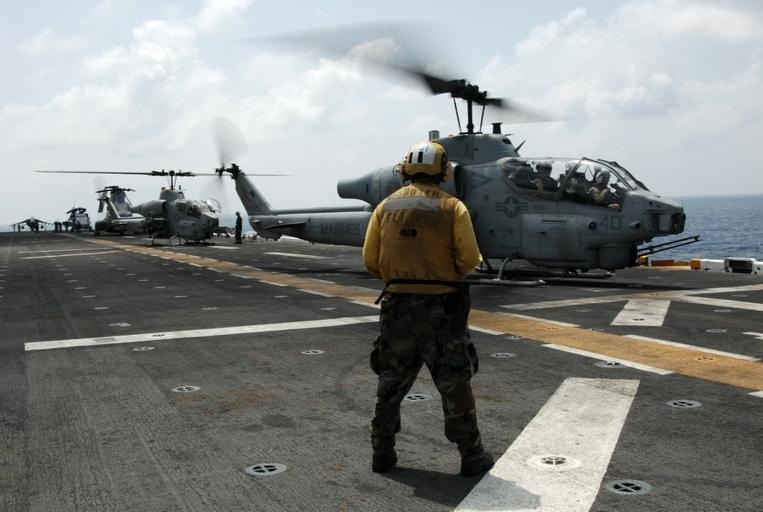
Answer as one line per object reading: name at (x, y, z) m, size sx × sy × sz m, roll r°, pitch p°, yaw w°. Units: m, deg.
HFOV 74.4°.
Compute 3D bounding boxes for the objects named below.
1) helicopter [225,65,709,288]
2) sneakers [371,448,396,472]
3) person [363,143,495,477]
helicopter at (1.793, -1.732, 16.093) m, size 13.268 × 2.943 × 8.112 m, roll 1°, pitch 7°, yaw 32°
sneakers at (0.024, 1.665, 4.113) m, size 0.132 × 0.095 × 0.294 m, roll 1°, pitch 1°, yaw 28°
person at (0.347, 0.368, 4.296) m, size 1.041 × 2.725 × 0.952 m, roll -3°, pitch 8°, yaw 7°
